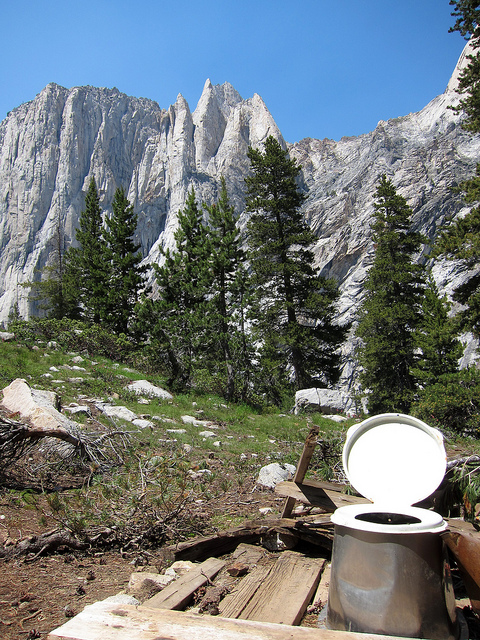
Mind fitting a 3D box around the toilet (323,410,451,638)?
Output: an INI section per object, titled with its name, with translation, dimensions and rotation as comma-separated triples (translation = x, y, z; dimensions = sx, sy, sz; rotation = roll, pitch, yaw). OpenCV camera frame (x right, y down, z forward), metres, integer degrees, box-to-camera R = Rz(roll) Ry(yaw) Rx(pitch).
[toilet]
translation = 1.121, 1.493, 4.203
dimensions = 0.903, 1.476, 1.074
rotation = -2, -7, 19
